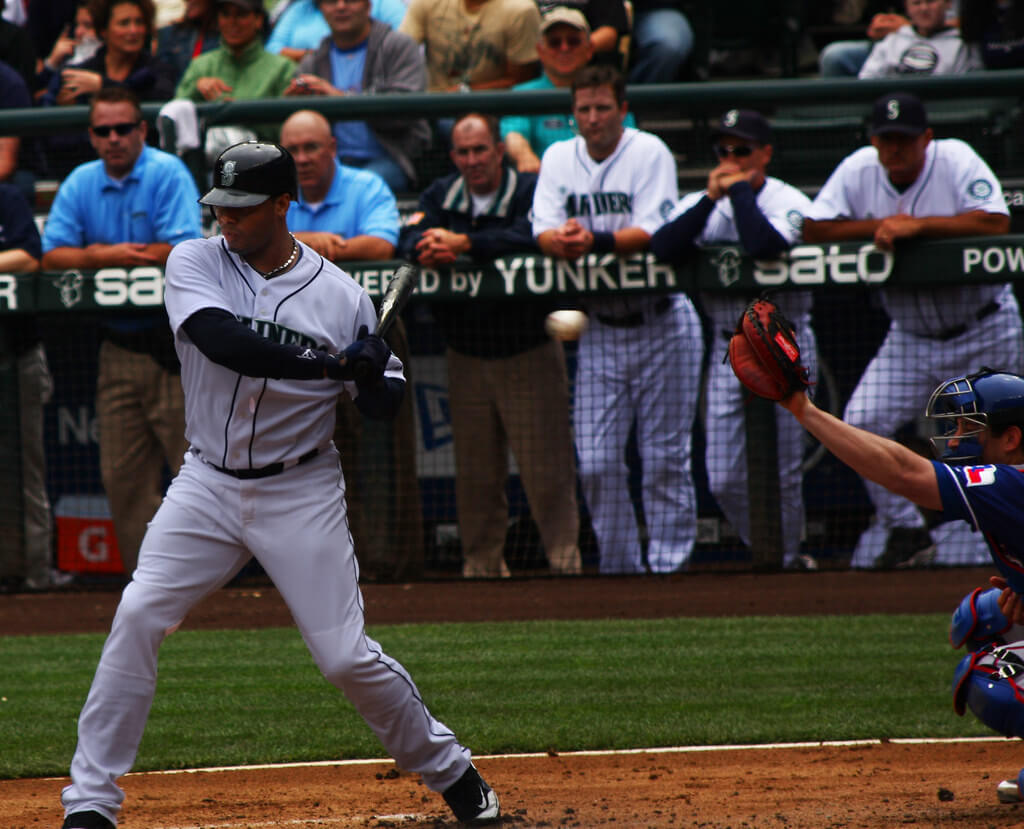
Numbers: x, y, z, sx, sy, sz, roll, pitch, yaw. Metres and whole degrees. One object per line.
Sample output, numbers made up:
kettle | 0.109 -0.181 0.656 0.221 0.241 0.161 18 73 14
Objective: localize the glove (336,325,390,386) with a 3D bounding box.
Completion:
glove | -0.616 -0.217 9.652 0.234 0.200 0.132 -4 1 -11

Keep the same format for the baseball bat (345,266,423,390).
baseball bat | -0.527 -0.455 9.992 0.089 0.509 0.086 34 -47 -7

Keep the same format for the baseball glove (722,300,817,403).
baseball glove | 1.031 -0.246 9.537 0.318 0.395 0.119 -47 1 -17

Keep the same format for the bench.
bench | 1.822 -1.457 12.521 2.322 0.373 0.534 1 -4 18

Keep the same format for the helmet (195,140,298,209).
helmet | -1.093 -0.972 9.649 0.262 0.178 0.363 6 9 37

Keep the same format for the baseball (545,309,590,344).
baseball | 0.272 -0.427 11.627 0.165 0.110 0.160 -3 -3 36

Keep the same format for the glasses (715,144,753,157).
glasses | 1.107 -1.311 11.748 0.204 0.061 0.057 -3 1 36

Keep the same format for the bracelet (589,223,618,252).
bracelet | 0.451 -0.852 11.693 0.113 0.102 0.084 2 7 0
